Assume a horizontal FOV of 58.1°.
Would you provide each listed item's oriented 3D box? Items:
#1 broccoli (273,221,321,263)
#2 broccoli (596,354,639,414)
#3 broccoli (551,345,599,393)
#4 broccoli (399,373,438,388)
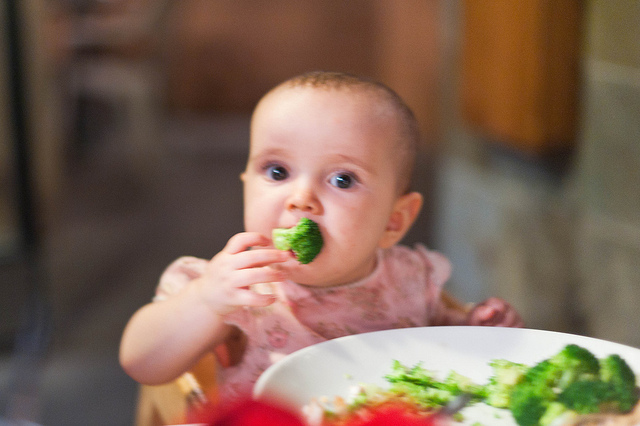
[{"bbox_3d":[-0.046,0.057,1.253,0.103,0.062,0.113,-30,18,-26],"label":"broccoli"},{"bbox_3d":[0.607,0.346,1.167,0.028,0.097,0.076,-17,-13,42],"label":"broccoli"},{"bbox_3d":[0.527,0.324,1.198,0.071,0.092,0.043,27,0,33],"label":"broccoli"},{"bbox_3d":[0.202,0.347,1.197,0.072,0.028,0.020,1,32,3],"label":"broccoli"}]
